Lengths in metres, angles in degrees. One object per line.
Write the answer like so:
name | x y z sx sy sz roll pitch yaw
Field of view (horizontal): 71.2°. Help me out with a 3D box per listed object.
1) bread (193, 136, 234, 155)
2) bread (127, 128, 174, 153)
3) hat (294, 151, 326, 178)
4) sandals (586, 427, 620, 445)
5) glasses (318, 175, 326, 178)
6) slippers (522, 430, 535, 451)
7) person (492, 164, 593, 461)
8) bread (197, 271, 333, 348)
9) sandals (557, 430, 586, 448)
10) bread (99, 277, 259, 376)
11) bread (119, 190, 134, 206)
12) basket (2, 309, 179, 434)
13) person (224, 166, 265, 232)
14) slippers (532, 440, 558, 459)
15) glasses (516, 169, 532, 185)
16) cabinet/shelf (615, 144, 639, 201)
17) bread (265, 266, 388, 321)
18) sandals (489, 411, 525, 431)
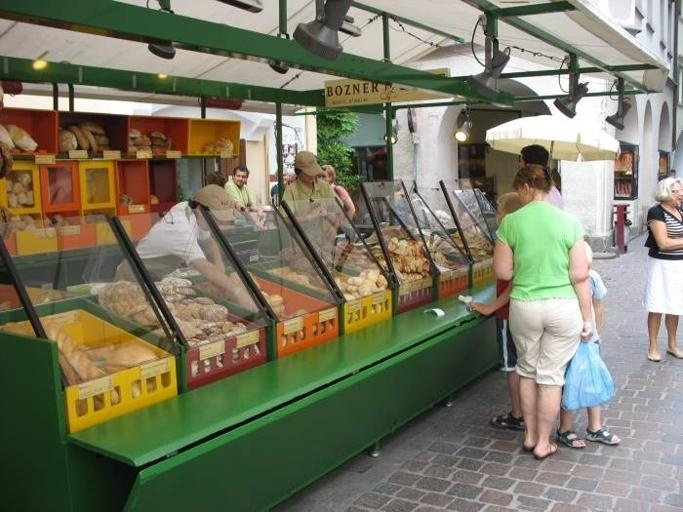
bread | -2.173 -1.833 8.154 0.485 0.172 0.391 4 9 30
bread | -3.007 -1.779 7.396 0.395 0.186 0.540 2 4 30
hat | -0.406 -1.127 5.953 0.371 0.189 0.248 33 48 26
sandals | 2.217 1.517 4.040 0.246 0.099 0.114 0 5 25
glasses | -0.343 -1.393 8.299 0.153 0.055 0.204 1 0 6
slippers | 1.552 1.560 3.967 0.066 0.081 0.189 -14 39 31
person | 1.586 0.599 3.824 0.734 2.045 0.351 2 10 27
bread | -0.376 0.424 3.591 0.592 0.206 0.630 9 12 37
sandals | 1.939 1.551 4.025 0.106 0.084 0.211 -4 2 -35
bread | -0.972 0.418 2.974 0.861 0.256 0.501 26 28 27
bread | -3.244 -0.876 7.159 0.166 0.081 0.210 14 27 -32
basket | -1.265 0.594 2.554 0.762 0.218 0.552 28 27 31
person | -1.693 -1.080 8.696 0.553 0.771 1.462 -7 32 -37
slippers | 1.637 1.571 3.834 0.096 0.101 0.250 5 11 43
glasses | 1.483 -0.644 3.938 0.103 0.126 0.130 5 5 -5
cabinet/shelf | 8.900 -2.669 14.942 0.603 1.777 0.531 1 9 20
bread | 0.137 0.316 4.050 0.631 0.148 0.604 17 21 40
sandals | 1.523 1.503 4.363 0.243 0.093 0.129 4 4 23
